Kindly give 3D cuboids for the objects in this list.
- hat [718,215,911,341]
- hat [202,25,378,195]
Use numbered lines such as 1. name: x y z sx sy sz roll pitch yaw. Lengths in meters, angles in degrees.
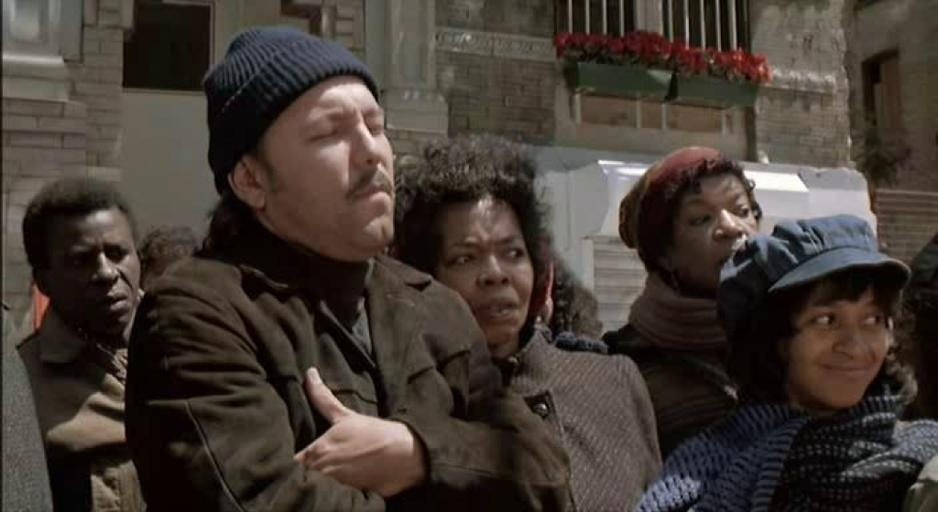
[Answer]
1. hat: 1.454 0.090 5.447 0.513 0.251 0.674 2 -20 -35
2. hat: -0.770 -0.613 5.256 0.678 0.574 0.509 -22 0 2
